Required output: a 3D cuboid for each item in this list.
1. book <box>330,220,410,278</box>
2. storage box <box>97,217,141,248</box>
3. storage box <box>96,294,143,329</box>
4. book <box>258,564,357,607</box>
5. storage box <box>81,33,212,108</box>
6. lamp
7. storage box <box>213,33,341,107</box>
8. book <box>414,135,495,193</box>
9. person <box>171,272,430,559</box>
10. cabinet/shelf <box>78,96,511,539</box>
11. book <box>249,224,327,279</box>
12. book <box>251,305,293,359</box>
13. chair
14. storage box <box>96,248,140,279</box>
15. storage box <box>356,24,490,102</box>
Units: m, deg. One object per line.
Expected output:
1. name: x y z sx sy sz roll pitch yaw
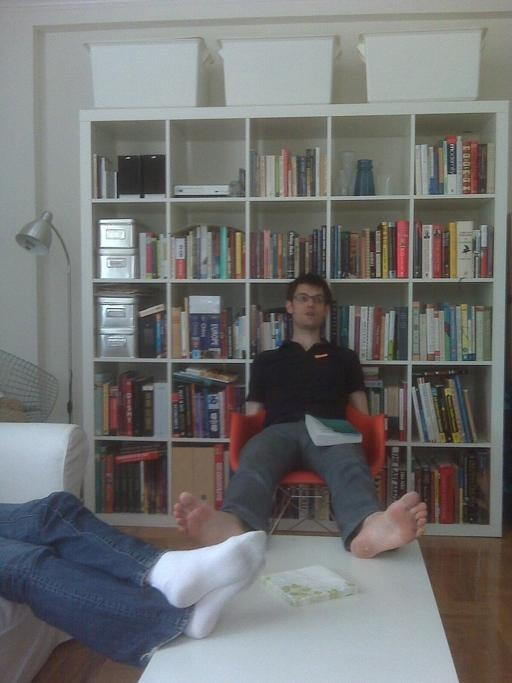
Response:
1. book: 0.500 -0.403 3.201 0.352 0.266 0.091 5 13 4
2. storage box: -0.632 -0.486 3.277 0.147 0.099 0.141 -1 4 -9
3. storage box: -0.633 -0.134 3.283 0.166 0.142 0.157 0 0 -8
4. book: 0.121 0.599 1.766 0.121 0.027 0.121 -1 2 -18
5. storage box: -0.492 -1.170 3.179 0.436 0.197 0.296 -1 9 1
6. lamp: -1.009 -0.096 3.496 0.254 1.059 0.710 1 13 -14
7. storage box: 0.095 -1.159 3.116 0.437 0.183 0.270 0 8 3
8. book: 0.859 -0.755 3.142 0.353 0.249 0.058 6 13 7
9. person: 0.146 0.210 2.662 0.753 0.683 1.337 1 10 2
10. cabinet/shelf: 0.178 -0.088 3.121 2.207 1.889 0.566 0 1 1
11. book: 0.143 -0.389 3.228 0.336 0.235 0.099 3 13 -6
12. book: 0.061 -0.049 3.397 0.216 0.265 0.282 -1 -3 8
13. chair: 0.265 0.461 2.922 0.653 0.658 0.494 0 -31 3
14. storage box: -0.632 -0.350 3.290 0.152 0.101 0.145 0 4 2
15. storage box: 0.692 -1.159 3.060 0.454 0.187 0.270 0 4 7
